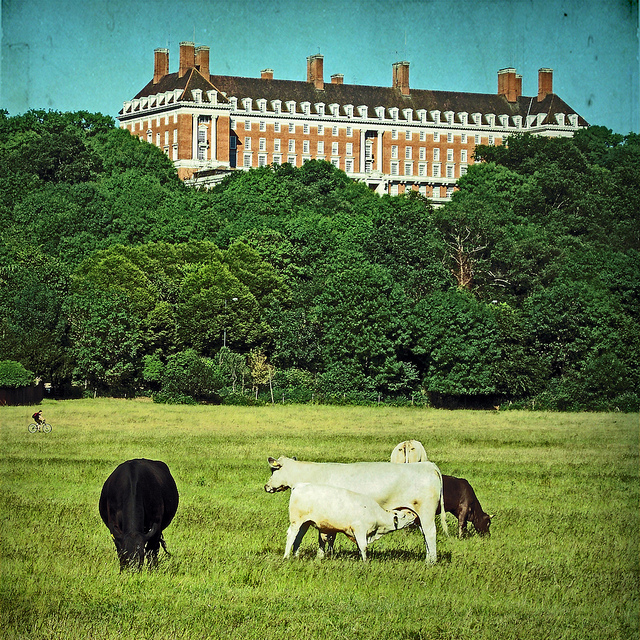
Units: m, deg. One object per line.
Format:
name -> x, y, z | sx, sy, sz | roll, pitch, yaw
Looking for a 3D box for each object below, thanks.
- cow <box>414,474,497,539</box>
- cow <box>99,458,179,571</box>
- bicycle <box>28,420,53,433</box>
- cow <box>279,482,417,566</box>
cow -> 2.318, 3.301, 22.821 | 1.571, 1.197, 0.476 | 11, -7, -17
cow -> -2.688, 2.913, 19.267 | 0.914, 1.664, 1.380 | 1, 1, -5
bicycle -> -9.609, 3.696, 44.974 | 0.753, 0.693, 0.447 | -2, 3, -7
cow -> 0.370, 3.115, 19.904 | 1.812, 1.293, 0.978 | 1, 1, -3
